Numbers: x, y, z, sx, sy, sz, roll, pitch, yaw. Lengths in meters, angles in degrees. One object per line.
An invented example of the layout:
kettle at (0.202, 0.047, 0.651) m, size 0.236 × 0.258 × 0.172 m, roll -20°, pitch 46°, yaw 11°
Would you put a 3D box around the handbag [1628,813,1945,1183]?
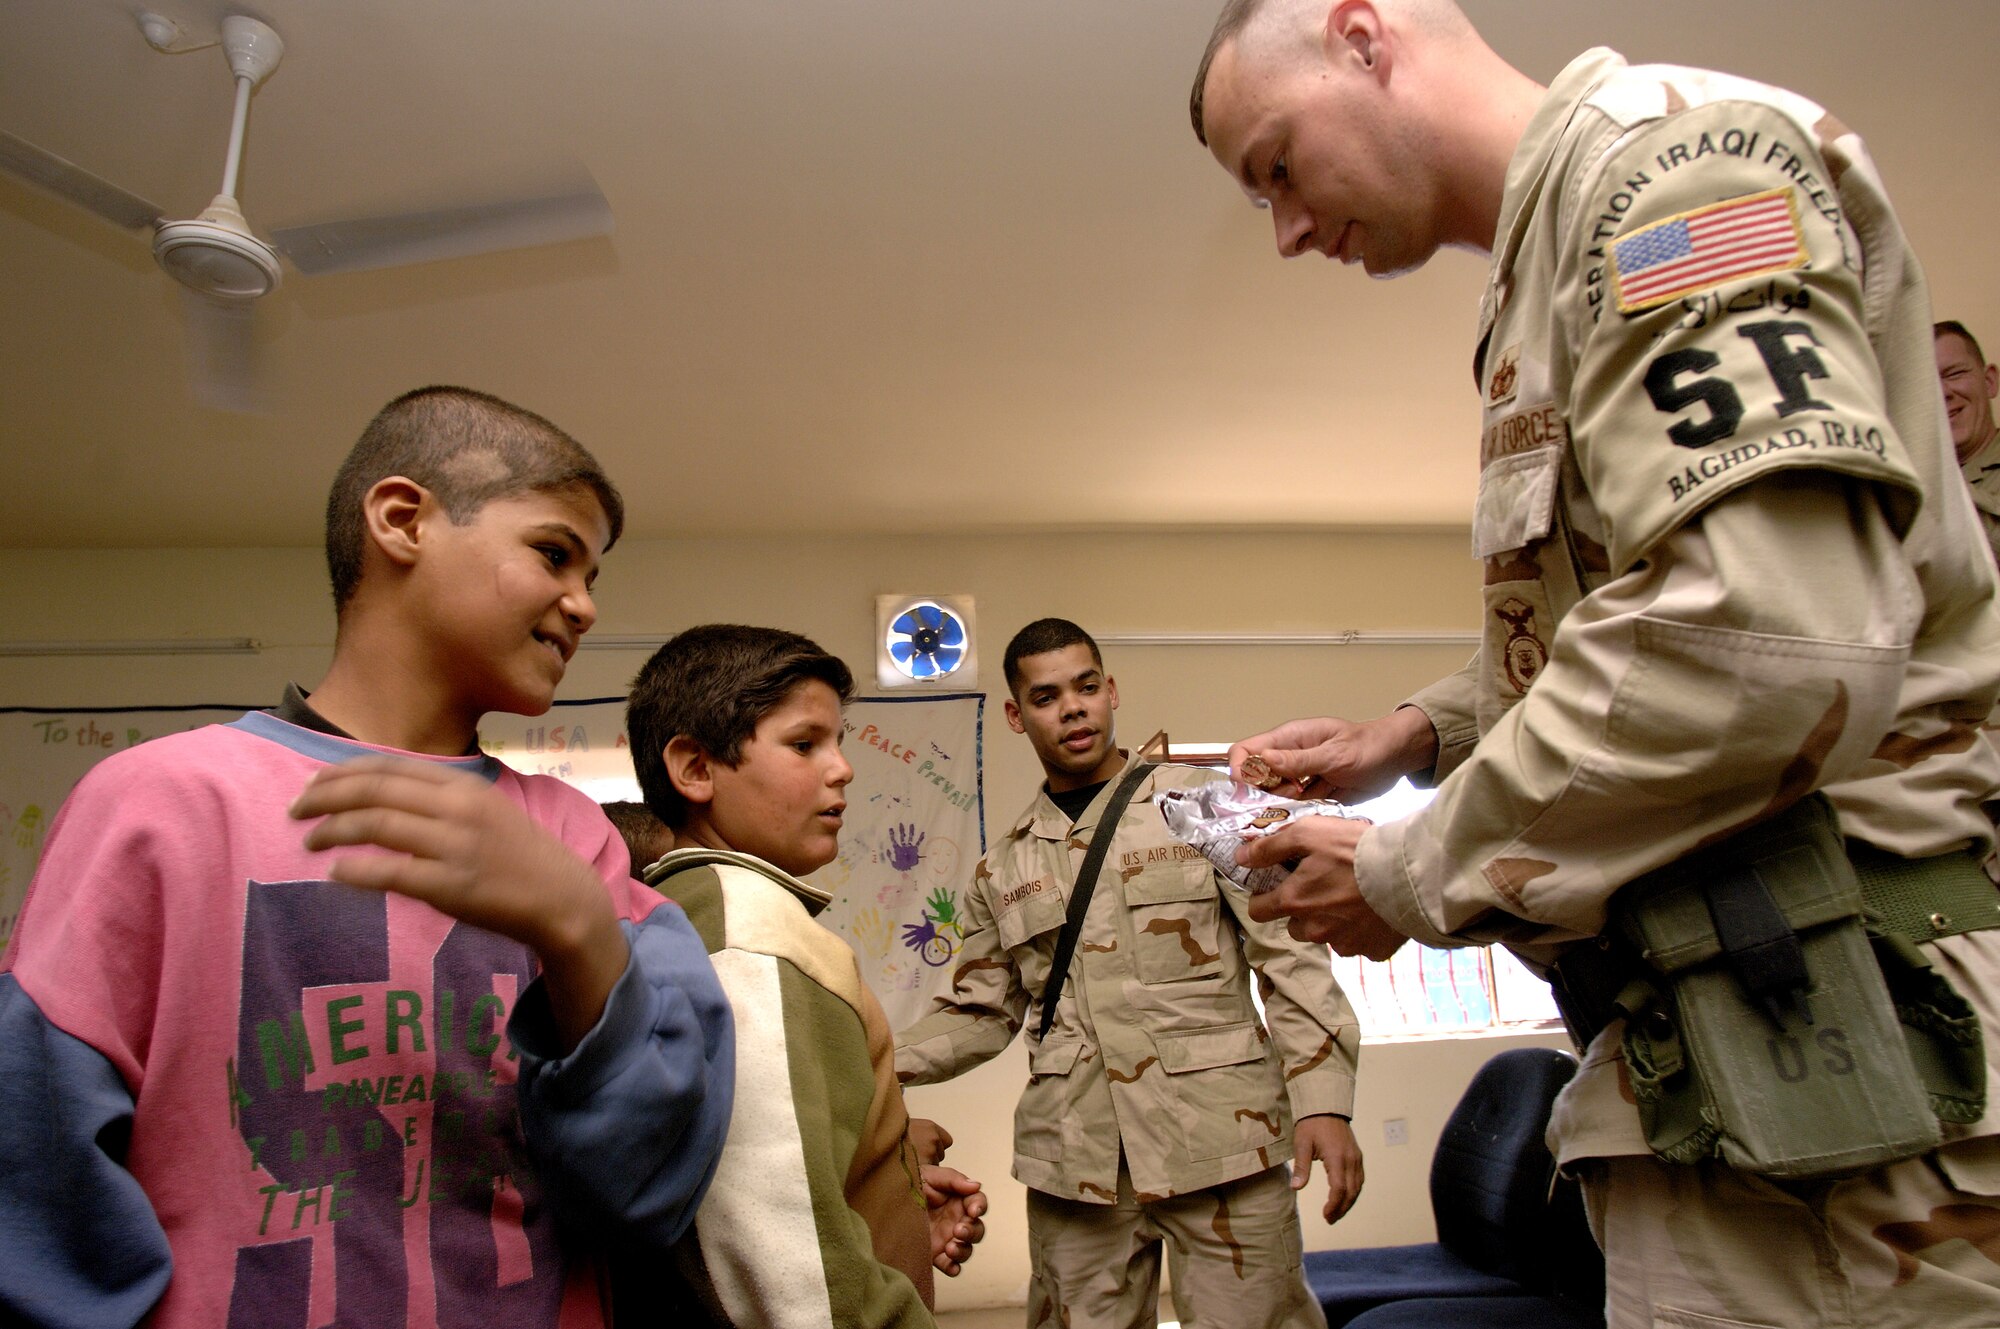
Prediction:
handbag at (0.828, 0.367, 1.649) m, size 0.285 × 0.381 × 0.147 m, roll -19°, pitch -11°, yaw 3°
